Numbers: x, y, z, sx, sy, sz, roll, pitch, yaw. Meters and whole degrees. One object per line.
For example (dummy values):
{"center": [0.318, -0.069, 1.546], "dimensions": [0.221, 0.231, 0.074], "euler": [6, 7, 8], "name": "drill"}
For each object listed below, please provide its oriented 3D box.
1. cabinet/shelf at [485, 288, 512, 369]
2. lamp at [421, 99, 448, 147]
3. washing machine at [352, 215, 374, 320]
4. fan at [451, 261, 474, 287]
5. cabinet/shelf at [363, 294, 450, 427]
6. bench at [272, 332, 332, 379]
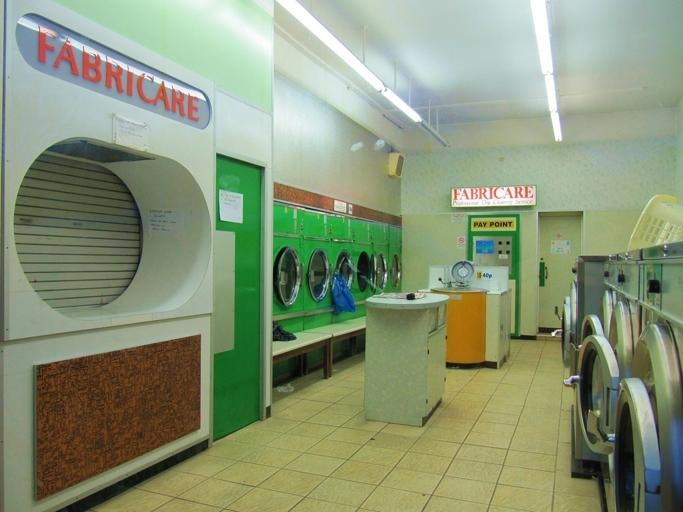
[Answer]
{"center": [2.175, 1.013, 7.004], "dimensions": [0.359, 1.050, 1.074], "euler": [1, -1, 28], "name": "cabinet/shelf"}
{"center": [1.704, -2.422, 9.119], "dimensions": [0.411, 0.652, 2.211], "euler": [1, 2, 14], "name": "lamp"}
{"center": [0.347, 0.066, 8.233], "dimensions": [0.310, 1.221, 0.870], "euler": [-1, 7, -6], "name": "washing machine"}
{"center": [1.714, 0.251, 7.098], "dimensions": [0.291, 0.345, 0.198], "euler": [2, 2, 27], "name": "fan"}
{"center": [0.524, 0.923, 5.243], "dimensions": [0.971, 1.301, 1.358], "euler": [-1, -1, 19], "name": "cabinet/shelf"}
{"center": [-0.665, 1.243, 6.343], "dimensions": [1.146, 0.534, 0.447], "euler": [2, -7, 4], "name": "bench"}
